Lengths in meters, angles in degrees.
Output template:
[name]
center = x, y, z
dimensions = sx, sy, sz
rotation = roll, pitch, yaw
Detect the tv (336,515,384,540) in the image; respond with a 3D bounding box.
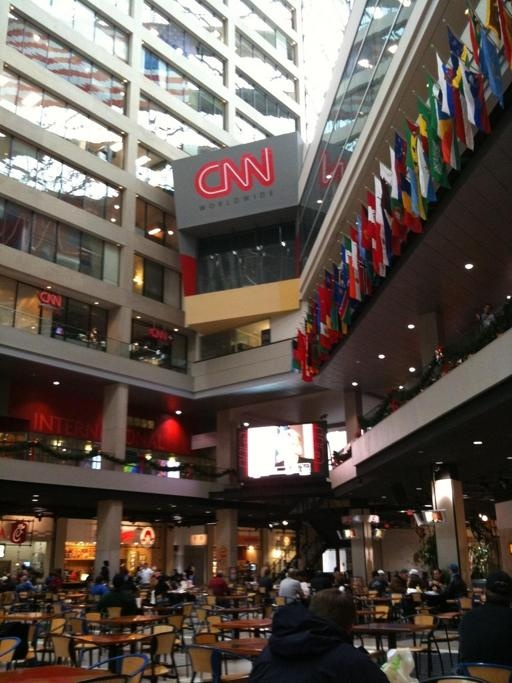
[tv]
center = 4.485, 7.945, 23.361
dimensions = 1.620, 0.689, 1.908
rotation = 4, -25, -12
